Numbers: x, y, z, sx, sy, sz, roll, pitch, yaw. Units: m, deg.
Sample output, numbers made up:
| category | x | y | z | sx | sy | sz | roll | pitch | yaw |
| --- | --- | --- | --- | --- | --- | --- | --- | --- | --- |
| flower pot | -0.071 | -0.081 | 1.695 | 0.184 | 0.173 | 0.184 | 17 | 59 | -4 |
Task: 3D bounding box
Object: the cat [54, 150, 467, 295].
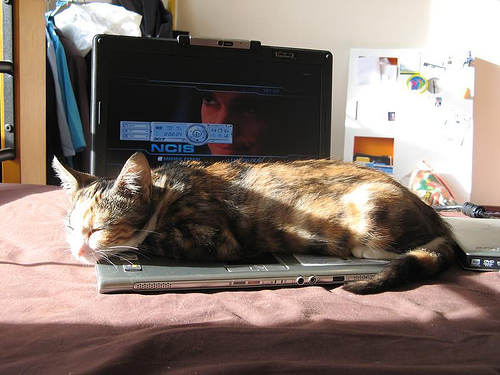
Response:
| category | x | y | z | sx | sy | sz | roll | pitch | yaw |
| --- | --- | --- | --- | --- | --- | --- | --- | --- | --- |
| cat | -0.005 | 0.064 | 1.027 | 0.631 | 0.188 | 0.434 | 1 | -2 | -14 |
